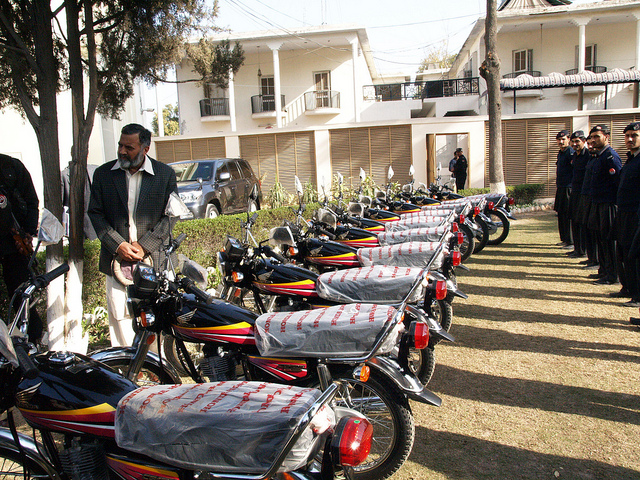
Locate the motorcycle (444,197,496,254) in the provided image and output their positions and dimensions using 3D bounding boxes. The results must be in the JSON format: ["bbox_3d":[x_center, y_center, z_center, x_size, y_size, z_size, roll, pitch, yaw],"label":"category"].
[{"bbox_3d":[2.802,-0.329,9.675,1.096,0.824,0.691,-2,4,17],"label":"motorcycle"}]

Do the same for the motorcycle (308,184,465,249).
[{"bbox_3d":[0.813,-0.137,6.569,1.518,0.980,0.803,2,19,21],"label":"motorcycle"}]

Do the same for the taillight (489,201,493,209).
[{"bbox_3d":[3.263,-0.660,10.378,0.097,0.220,0.120,0,7,13],"label":"taillight"}]

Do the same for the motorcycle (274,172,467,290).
[{"bbox_3d":[0.300,0.117,6.090,2.193,1.573,1.206,1,5,15],"label":"motorcycle"}]

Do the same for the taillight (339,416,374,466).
[{"bbox_3d":[0.215,1.149,3.108,0.139,0.255,0.183,3,7,29],"label":"taillight"}]

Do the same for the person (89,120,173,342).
[{"bbox_3d":[-1.851,0.079,5.353,0.779,2.391,0.653,-3,30,-26],"label":"person"}]

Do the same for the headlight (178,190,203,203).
[{"bbox_3d":[-2.796,-0.960,11.888,0.292,0.256,0.632,3,7,26],"label":"headlight"}]

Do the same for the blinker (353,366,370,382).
[{"bbox_3d":[0.309,0.958,4.021,0.116,0.127,0.119,0,32,6],"label":"blinker"}]

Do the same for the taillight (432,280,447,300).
[{"bbox_3d":[1.107,0.446,5.014,0.120,0.178,0.209,1,7,12],"label":"taillight"}]

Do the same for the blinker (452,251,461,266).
[{"bbox_3d":[1.453,0.183,5.799,0.103,0.215,0.207,-1,3,12],"label":"blinker"}]

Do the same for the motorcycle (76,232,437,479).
[{"bbox_3d":[-0.371,0.773,4.811,2.802,1.890,1.552,6,6,14],"label":"motorcycle"}]

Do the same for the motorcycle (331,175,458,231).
[{"bbox_3d":[0.963,-0.426,7.355,1.481,0.961,0.786,2,9,19],"label":"motorcycle"}]

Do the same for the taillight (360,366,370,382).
[{"bbox_3d":[0.332,0.960,3.966,0.068,0.109,0.025,10,5,-32],"label":"taillight"}]

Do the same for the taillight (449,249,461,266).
[{"bbox_3d":[1.459,0.188,5.859,0.122,0.262,0.181,2,-1,11],"label":"taillight"}]

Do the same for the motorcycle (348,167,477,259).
[{"bbox_3d":[1.303,-0.377,8.472,2.074,1.504,1.245,3,7,17],"label":"motorcycle"}]

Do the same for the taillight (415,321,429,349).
[{"bbox_3d":[0.799,0.736,4.127,0.130,0.275,0.191,0,-16,13],"label":"taillight"}]

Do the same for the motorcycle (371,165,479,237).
[{"bbox_3d":[1.759,-0.645,9.022,1.686,1.230,1.038,3,6,15],"label":"motorcycle"}]
